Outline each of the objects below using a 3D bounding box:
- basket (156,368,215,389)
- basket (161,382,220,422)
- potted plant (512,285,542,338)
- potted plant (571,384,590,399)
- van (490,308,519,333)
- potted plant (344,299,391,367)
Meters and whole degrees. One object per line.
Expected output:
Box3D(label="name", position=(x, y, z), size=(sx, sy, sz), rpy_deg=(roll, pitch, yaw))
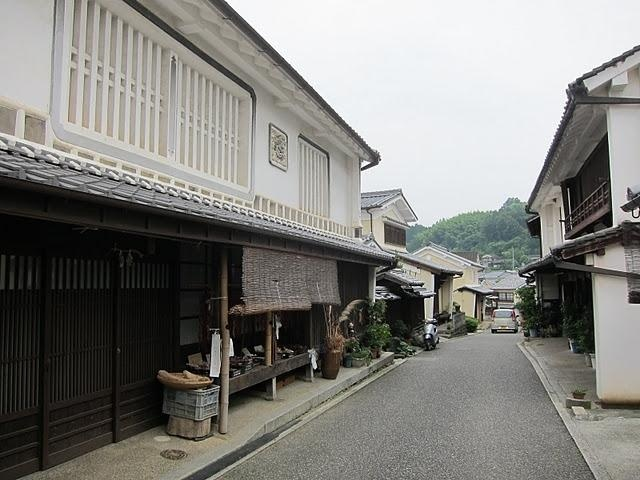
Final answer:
Box3D(label="basket", position=(-2.266, 2.383, 8.048), size=(0.489, 0.172, 0.471), rpy_deg=(10, -7, 10))
Box3D(label="basket", position=(-2.161, 2.746, 7.975), size=(0.768, 0.469, 0.585), rpy_deg=(-5, -18, 19))
Box3D(label="potted plant", position=(10.556, 3.673, 23.966), size=(1.122, 2.561, 2.236), rpy_deg=(1, -2, 23))
Box3D(label="potted plant", position=(5.808, 3.368, 10.568), size=(0.372, 0.290, 0.352), rpy_deg=(0, -6, -21))
Box3D(label="van", position=(12.414, 5.447, 31.973), size=(1.102, 1.115, 2.152), rpy_deg=(-2, -1, 19))
Box3D(label="potted plant", position=(1.505, 2.807, 14.844), size=(0.807, 1.888, 2.629), rpy_deg=(1, -2, 23))
